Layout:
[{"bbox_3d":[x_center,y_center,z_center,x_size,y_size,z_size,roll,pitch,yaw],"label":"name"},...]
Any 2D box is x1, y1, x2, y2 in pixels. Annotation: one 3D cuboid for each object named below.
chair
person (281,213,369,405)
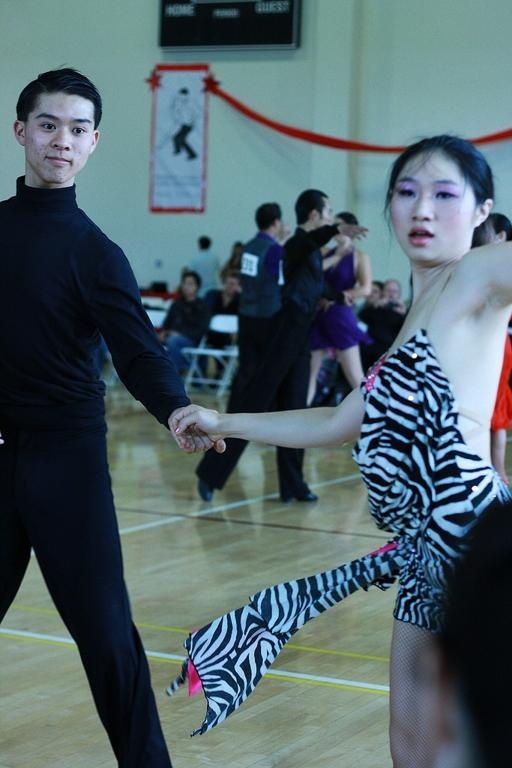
[{"bbox_3d":[-0.593,-0.573,10.568,0.650,0.729,0.483,9,-34,-14],"label":"chair"},{"bbox_3d":[0.396,-0.388,4.500,0.630,1.445,0.503,7,29,12],"label":"person"}]
